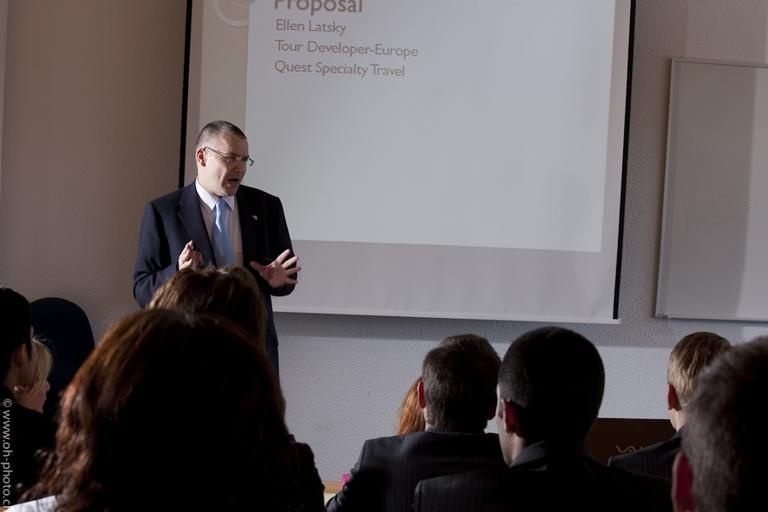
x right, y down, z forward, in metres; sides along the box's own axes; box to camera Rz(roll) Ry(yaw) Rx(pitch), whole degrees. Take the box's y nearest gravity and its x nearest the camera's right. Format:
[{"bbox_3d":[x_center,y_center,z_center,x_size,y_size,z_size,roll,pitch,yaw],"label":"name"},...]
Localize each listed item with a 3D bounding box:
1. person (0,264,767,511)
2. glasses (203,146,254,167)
[{"bbox_3d":[-0.122,0.449,2.226,2.037,0.949,0.487,2,-11,-13],"label":"person"},{"bbox_3d":[-0.752,-0.476,2.854,0.205,0.076,0.056,2,4,3],"label":"glasses"}]
